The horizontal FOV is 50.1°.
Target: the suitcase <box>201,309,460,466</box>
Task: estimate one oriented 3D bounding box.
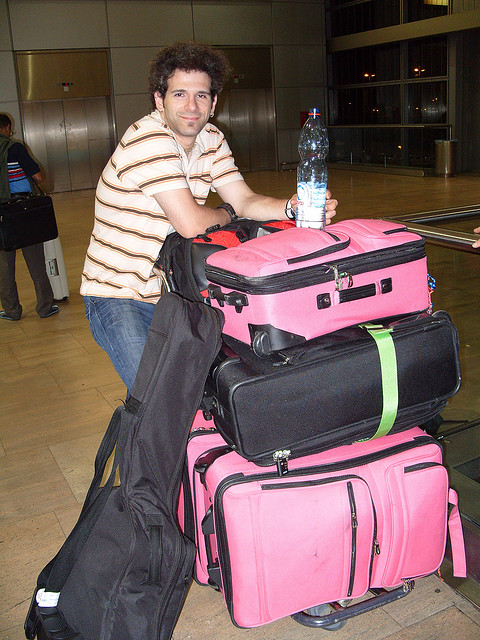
[{"bbox_3d":[0.206,0.083,1.164,0.471,0.208,0.352,-13,8,-16],"label":"suitcase"}]

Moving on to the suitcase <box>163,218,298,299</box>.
[{"bbox_3d":[-0.006,-0.199,1.441,0.362,0.125,0.203,-17,15,-29],"label":"suitcase"}]

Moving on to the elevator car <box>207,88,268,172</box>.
[{"bbox_3d":[-0.005,-5.864,16.162,1.714,3.029,0.203,-2,-12,0],"label":"elevator car"}]

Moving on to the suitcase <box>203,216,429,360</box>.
[{"bbox_3d":[0.192,-0.090,1.223,0.517,0.257,0.288,-12,15,-28],"label":"suitcase"}]

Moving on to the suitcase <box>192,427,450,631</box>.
[{"bbox_3d":[0.219,0.395,1.540,0.860,0.424,0.642,12,22,-10],"label":"suitcase"}]

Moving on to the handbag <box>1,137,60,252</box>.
[{"bbox_3d":[-2.013,-1.176,4.749,0.456,1.031,0.599,-4,14,3],"label":"handbag"}]
